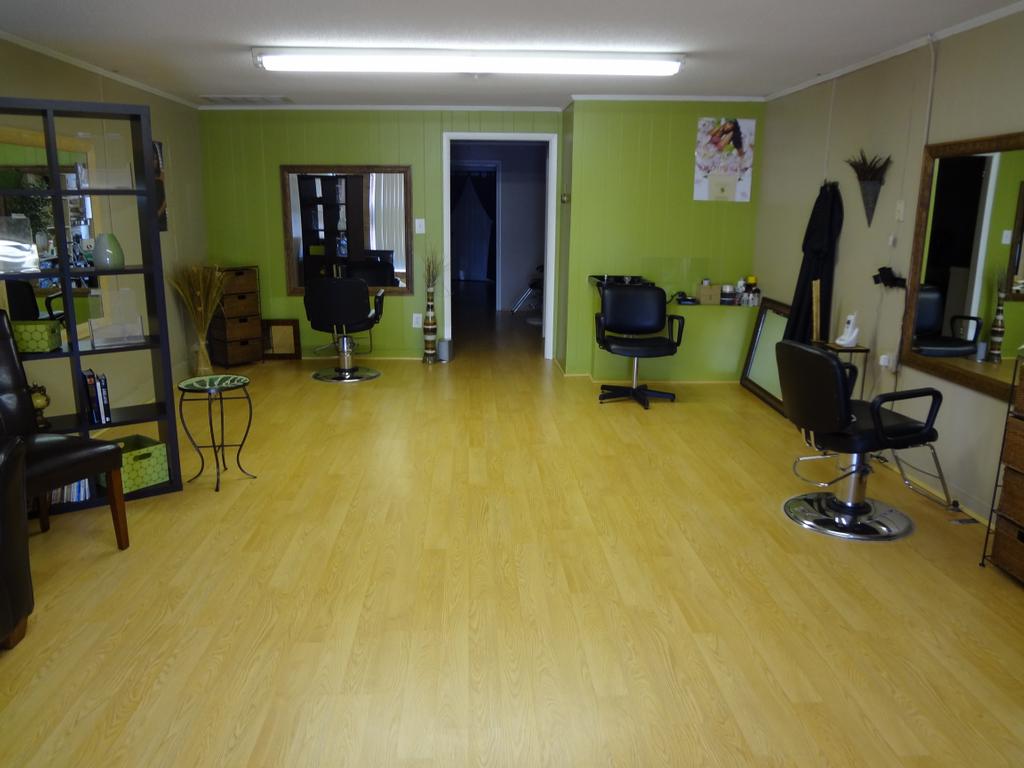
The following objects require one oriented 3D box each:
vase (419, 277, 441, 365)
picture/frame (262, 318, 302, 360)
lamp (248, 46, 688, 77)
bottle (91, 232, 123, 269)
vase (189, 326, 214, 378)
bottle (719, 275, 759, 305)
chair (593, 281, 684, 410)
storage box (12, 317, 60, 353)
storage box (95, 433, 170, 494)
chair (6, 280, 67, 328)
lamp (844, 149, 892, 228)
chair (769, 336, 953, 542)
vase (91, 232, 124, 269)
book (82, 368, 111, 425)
[{"bbox_3d":[-0.892,-0.697,7.709,0.190,0.880,0.372,-3,16,-6],"label":"vase"},{"bbox_3d":[-2.516,-0.489,7.692,0.411,0.503,0.052,1,15,-1],"label":"picture/frame"},{"bbox_3d":[-0.306,-2.337,5.201,2.985,0.169,0.497,-2,16,-1],"label":"lamp"},{"bbox_3d":[-2.366,-0.782,4.222,0.182,0.219,0.190,-1,3,-16],"label":"bottle"},{"bbox_3d":[-3.099,-0.325,7.033,0.194,0.476,0.583,-8,17,-23],"label":"vase"},{"bbox_3d":[2.193,-0.895,6.847,0.337,0.330,0.242,2,2,8],"label":"bottle"},{"bbox_3d":[1.152,-0.413,6.501,0.738,1.027,1.109,1,16,9],"label":"chair"},{"bbox_3d":[-2.700,-0.256,4.048,0.297,0.221,0.167,0,2,-12],"label":"storage box"},{"bbox_3d":[-2.359,0.476,4.409,0.334,0.267,0.335,-14,20,-37],"label":"storage box"},{"bbox_3d":[-2.832,-0.474,4.212,0.243,0.311,0.245,9,22,18],"label":"chair"},{"bbox_3d":[2.566,-1.393,5.092,0.106,0.518,0.318,-4,16,-8],"label":"lamp"},{"bbox_3d":[1.988,0.264,4.137,0.787,1.129,0.760,-3,14,-8],"label":"chair"},{"bbox_3d":[-2.361,-0.784,4.217,0.182,0.219,0.190,-1,3,-16],"label":"vase"},{"bbox_3d":[-2.474,0.083,4.205,0.079,0.260,0.254,-13,45,-29],"label":"book"}]
